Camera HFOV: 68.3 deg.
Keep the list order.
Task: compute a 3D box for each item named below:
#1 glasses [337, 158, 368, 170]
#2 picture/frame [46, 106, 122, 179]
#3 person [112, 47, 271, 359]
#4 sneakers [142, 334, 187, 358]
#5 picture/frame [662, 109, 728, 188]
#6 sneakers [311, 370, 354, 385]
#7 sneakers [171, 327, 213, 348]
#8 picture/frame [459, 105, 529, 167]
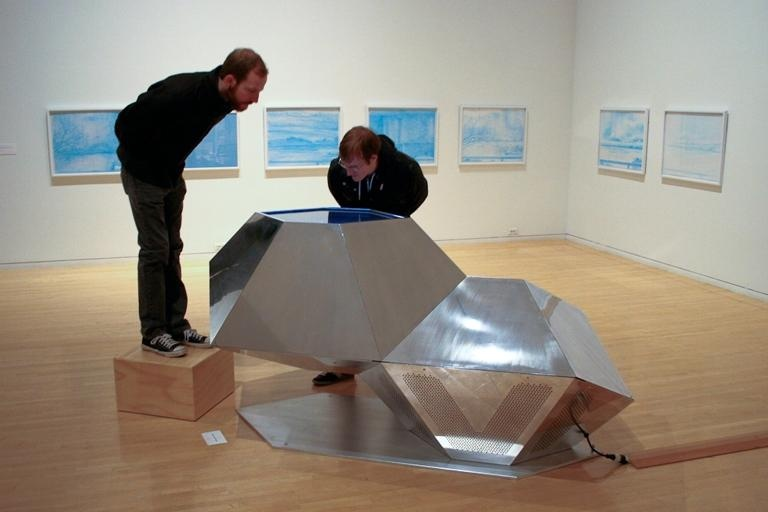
[{"bbox_3d":[-0.212,-0.665,4.072,0.194,0.067,0.080,2,16,4],"label":"glasses"},{"bbox_3d":[-3.623,-1.381,6.727,1.251,1.034,0.099,-2,5,-4],"label":"picture/frame"},{"bbox_3d":[-1.389,-0.395,4.022,0.924,2.073,0.699,-4,17,-19],"label":"person"},{"bbox_3d":[-1.552,0.619,3.998,0.331,0.132,0.140,3,4,27],"label":"sneakers"},{"bbox_3d":[3.606,-1.231,6.457,0.163,0.991,0.877,-5,10,-32],"label":"picture/frame"},{"bbox_3d":[-0.409,0.957,4.462,0.348,0.132,0.126,4,-1,-28],"label":"sneakers"},{"bbox_3d":[-1.410,0.606,4.145,0.345,0.135,0.142,2,11,16],"label":"sneakers"},{"bbox_3d":[1.590,-1.723,8.095,0.976,0.766,0.047,-1,8,-4],"label":"picture/frame"}]
